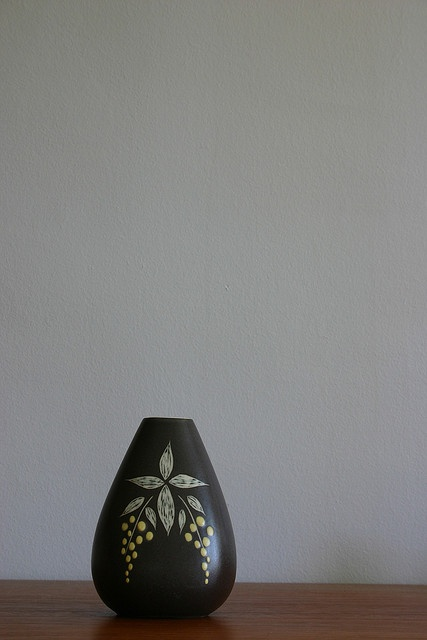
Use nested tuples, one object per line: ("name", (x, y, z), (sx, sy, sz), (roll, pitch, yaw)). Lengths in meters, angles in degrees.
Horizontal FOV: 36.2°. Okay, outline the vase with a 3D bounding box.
("vase", (-0.053, 0.222, 0.739), (0.173, 0.123, 0.196), (-1, 82, 1))
